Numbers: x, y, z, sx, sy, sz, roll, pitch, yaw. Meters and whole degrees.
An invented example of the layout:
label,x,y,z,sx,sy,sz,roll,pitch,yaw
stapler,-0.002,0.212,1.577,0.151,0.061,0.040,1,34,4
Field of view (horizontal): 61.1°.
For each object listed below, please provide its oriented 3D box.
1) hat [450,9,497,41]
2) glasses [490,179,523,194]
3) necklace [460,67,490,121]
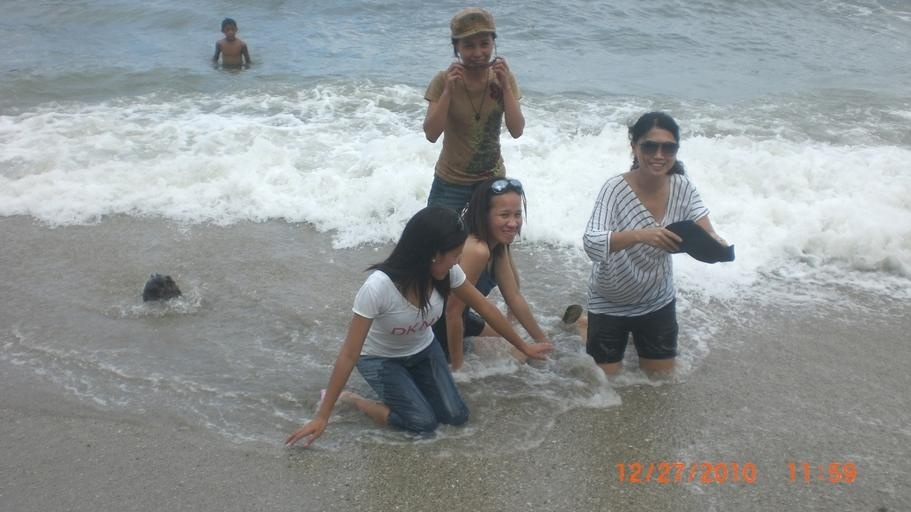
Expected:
label,x,y,z,sx,sy,sz,roll,pitch,yaw
hat,0.181,-2.726,9.000,0.484,0.304,0.347,-4,38,-1
glasses,0.568,-0.788,8.836,0.363,0.146,0.165,-9,39,-8
necklace,0.227,-1.904,9.065,0.322,0.557,0.302,-4,40,1
